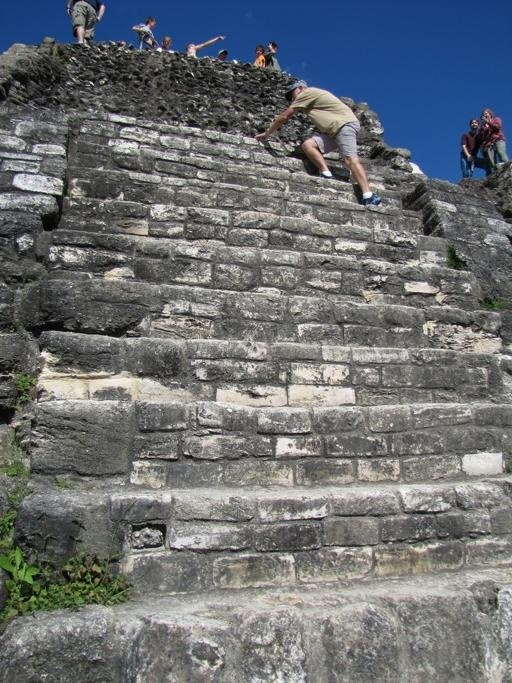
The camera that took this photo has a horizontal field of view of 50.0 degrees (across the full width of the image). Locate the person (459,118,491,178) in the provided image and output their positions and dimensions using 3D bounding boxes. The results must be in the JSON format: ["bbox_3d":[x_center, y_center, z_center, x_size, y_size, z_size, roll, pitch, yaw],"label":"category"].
[{"bbox_3d":[3.587,-3.119,9.030,0.462,0.345,1.128,15,-39,32],"label":"person"}]

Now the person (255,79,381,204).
[{"bbox_3d":[0.637,-1.955,5.295,0.928,1.753,0.507,-4,-15,8],"label":"person"}]

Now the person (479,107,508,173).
[{"bbox_3d":[3.792,-3.285,8.810,0.315,1.237,0.365,-5,-16,14],"label":"person"}]
